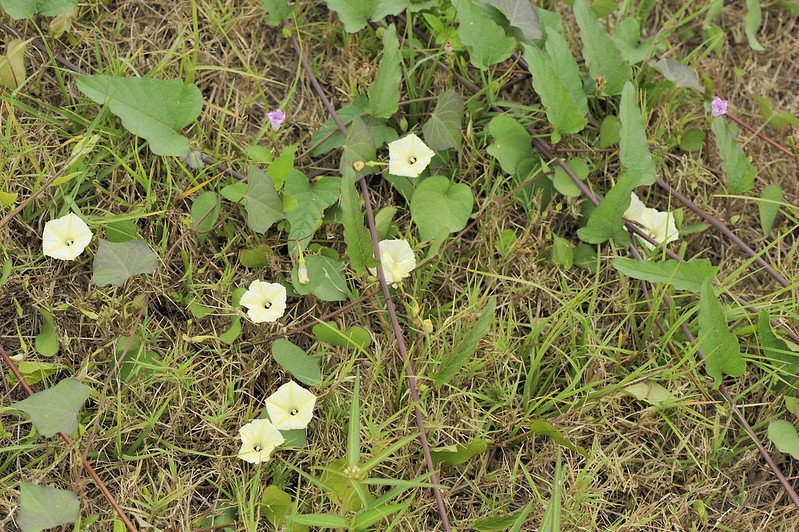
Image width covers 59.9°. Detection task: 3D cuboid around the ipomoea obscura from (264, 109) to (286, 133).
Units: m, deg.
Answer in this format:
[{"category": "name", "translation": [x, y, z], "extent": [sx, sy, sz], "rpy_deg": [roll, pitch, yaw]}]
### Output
[{"category": "ipomoea obscura", "translation": [-0.535, -0.592, 2.955], "extent": [0.088, 0.091, 0.099], "rpy_deg": [8, 72, -1]}]

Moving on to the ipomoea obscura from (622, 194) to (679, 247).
[{"category": "ipomoea obscura", "translation": [1.076, -0.186, 2.970], "extent": [0.215, 0.090, 0.244], "rpy_deg": [25, 74, -7]}]

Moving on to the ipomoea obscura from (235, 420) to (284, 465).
[{"category": "ipomoea obscura", "translation": [-0.542, 0.647, 2.645], "extent": [0.199, 0.172, 0.086], "rpy_deg": [-17, 105, -45]}]

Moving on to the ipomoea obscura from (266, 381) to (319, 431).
[{"category": "ipomoea obscura", "translation": [-0.425, 0.535, 2.678], "extent": [0.185, 0.063, 0.167], "rpy_deg": [3, 67, -6]}]

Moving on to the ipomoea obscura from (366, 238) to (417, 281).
[{"category": "ipomoea obscura", "translation": [-0.025, -0.038, 2.817], "extent": [0.136, 0.134, 0.081], "rpy_deg": [3, 63, -54]}]

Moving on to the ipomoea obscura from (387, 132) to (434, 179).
[{"category": "ipomoea obscura", "translation": [0.044, -0.449, 2.844], "extent": [0.180, 0.060, 0.171], "rpy_deg": [6, 67, -4]}]

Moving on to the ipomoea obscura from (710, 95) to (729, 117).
[{"category": "ipomoea obscura", "translation": [1.394, -0.687, 3.021], "extent": [0.087, 0.041, 0.105], "rpy_deg": [-2, 68, 1]}]
